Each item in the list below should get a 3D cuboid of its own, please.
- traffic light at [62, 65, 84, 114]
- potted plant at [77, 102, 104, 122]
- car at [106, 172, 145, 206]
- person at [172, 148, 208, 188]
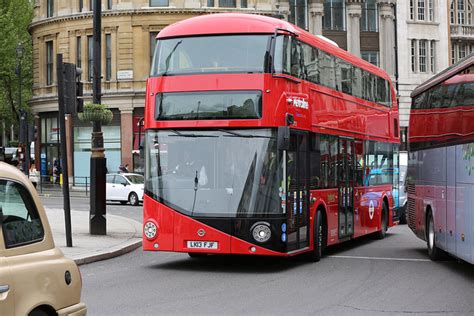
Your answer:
[{"bbox_3d":[-4.293,-1.832,14.210,0.473,0.933,0.671,-2,1,-16],"label":"traffic light"},{"bbox_3d":[-5.543,-1.706,20.638,1.074,0.678,1.091,9,7,43],"label":"potted plant"},{"bbox_3d":[-6.355,1.791,31.461,2.506,1.788,0.778,-1,1,28],"label":"car"},{"bbox_3d":[-0.943,0.181,11.934,0.533,0.848,0.233,3,5,16],"label":"person"}]
